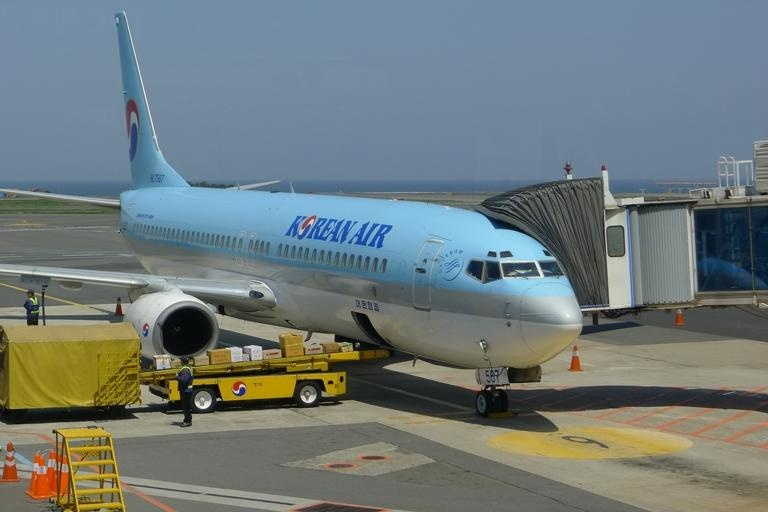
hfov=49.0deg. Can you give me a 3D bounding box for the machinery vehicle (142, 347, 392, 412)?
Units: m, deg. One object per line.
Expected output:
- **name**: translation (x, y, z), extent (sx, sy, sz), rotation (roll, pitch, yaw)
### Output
- **machinery vehicle**: translation (-3.770, 4.308, 28.957), extent (5.948, 1.819, 1.125), rotation (-1, 9, -16)
